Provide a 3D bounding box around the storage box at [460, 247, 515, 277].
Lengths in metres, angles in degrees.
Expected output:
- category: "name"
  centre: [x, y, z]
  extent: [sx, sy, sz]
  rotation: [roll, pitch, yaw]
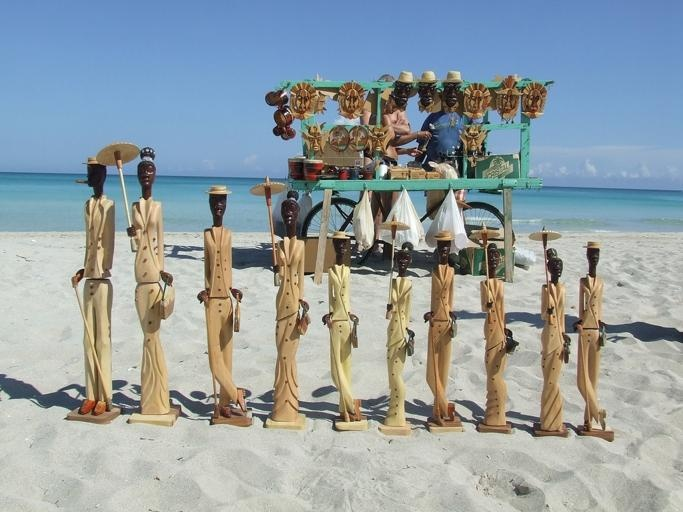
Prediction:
- category: "storage box"
  centre: [2.114, 0.093, 11.733]
  extent: [0.620, 0.470, 0.676]
  rotation: [0, 0, 3]
